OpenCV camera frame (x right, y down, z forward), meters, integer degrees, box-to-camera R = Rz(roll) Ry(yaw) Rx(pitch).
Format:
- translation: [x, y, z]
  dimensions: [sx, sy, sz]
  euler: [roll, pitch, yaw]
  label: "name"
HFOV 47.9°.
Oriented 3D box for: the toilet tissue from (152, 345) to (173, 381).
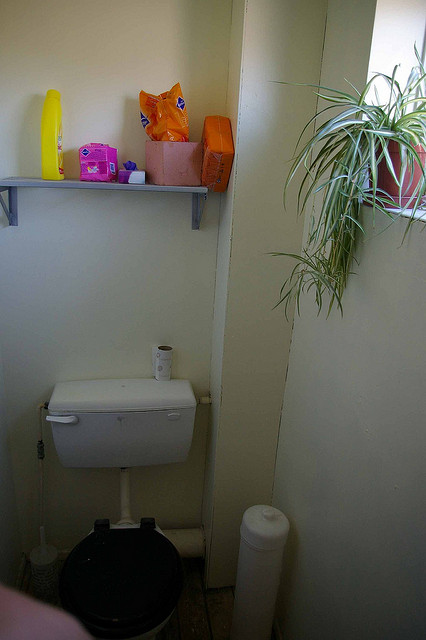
- translation: [-0.206, 0.171, 1.936]
  dimensions: [0.090, 0.167, 0.082]
  euler: [0, 18, -6]
  label: "toilet tissue"
